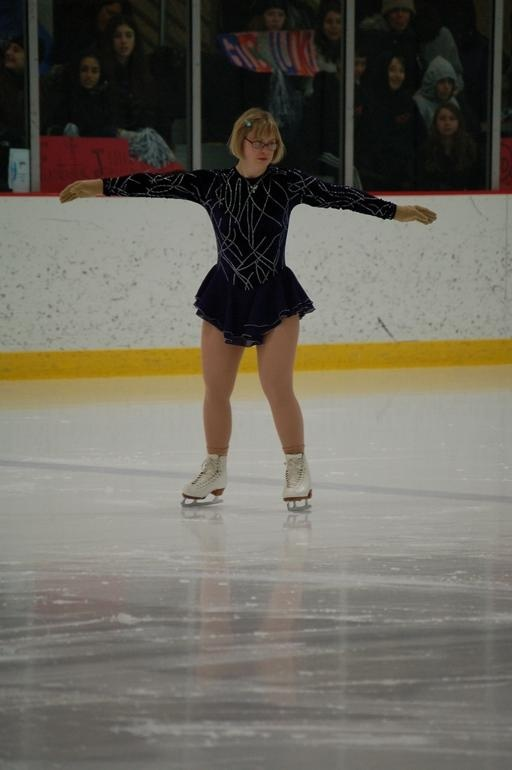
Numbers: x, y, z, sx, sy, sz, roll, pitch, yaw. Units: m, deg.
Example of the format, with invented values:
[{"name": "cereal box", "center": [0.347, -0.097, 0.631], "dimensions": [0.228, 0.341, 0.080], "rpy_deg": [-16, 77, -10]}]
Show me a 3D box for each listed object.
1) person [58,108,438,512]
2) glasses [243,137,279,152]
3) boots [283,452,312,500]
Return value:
[{"name": "person", "center": [-0.010, -0.220, 2.688], "dimensions": [0.784, 1.106, 0.378], "rpy_deg": [2, 7, 15]}, {"name": "glasses", "center": [0.021, -0.632, 2.540], "dimensions": [0.101, 0.033, 0.045], "rpy_deg": [-3, 7, -29]}, {"name": "boots", "center": [0.111, 0.262, 2.694], "dimensions": [0.069, 0.122, 0.201], "rpy_deg": [-5, 5, 7]}]
